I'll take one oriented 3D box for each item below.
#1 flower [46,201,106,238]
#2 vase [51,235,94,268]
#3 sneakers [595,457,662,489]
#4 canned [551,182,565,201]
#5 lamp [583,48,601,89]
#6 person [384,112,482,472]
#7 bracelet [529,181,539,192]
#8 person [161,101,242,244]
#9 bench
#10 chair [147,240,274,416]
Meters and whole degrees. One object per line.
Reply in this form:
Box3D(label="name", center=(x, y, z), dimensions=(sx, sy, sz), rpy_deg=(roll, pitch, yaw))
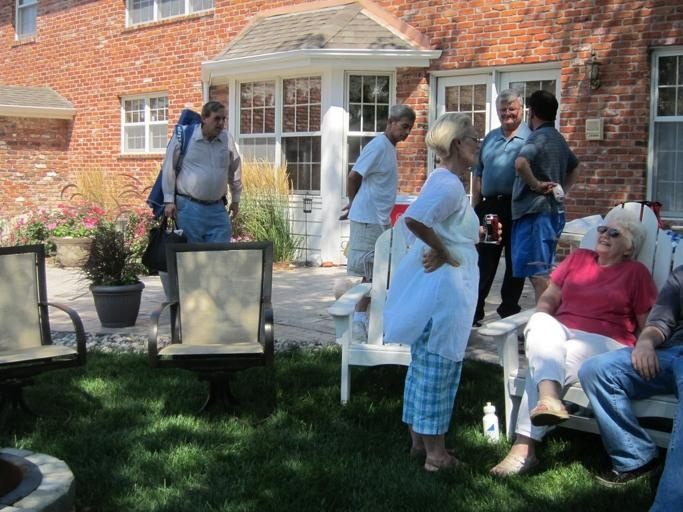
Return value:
Box3D(label="flower", center=(-4.567, -0.621, 11.455), dimensions=(0.710, 0.466, 0.817), rpy_deg=(1, 15, 8))
Box3D(label="vase", center=(-4.113, -0.091, 10.195), dimensions=(0.466, 0.384, 0.501), rpy_deg=(0, -1, -6))
Box3D(label="sneakers", center=(1.598, 1.225, 3.784), dimensions=(0.383, 0.175, 0.152), rpy_deg=(-9, 2, 6))
Box3D(label="canned", center=(1.858, -0.547, 5.742), dimensions=(0.095, 0.151, 0.052), rpy_deg=(9, -13, -28))
Box3D(label="lamp", center=(3.371, -2.500, 8.934), dimensions=(0.212, 0.498, 0.145), rpy_deg=(3, 10, 16))
Box3D(label="person", center=(0.522, 0.205, 3.945), dimensions=(0.552, 2.066, 0.448), rpy_deg=(1, 10, 10))
Box3D(label="bracelet", center=(1.655, -0.619, 5.703), dimensions=(0.094, 0.040, 0.072), rpy_deg=(37, 0, 22))
Box3D(label="person", center=(-1.364, -0.835, 6.649), dimensions=(0.860, 1.358, 0.538), rpy_deg=(-6, 12, -30))
Box3D(label="bench", center=(1.556, 0.395, 4.603), dimensions=(1.172, 1.692, 1.649), rpy_deg=(2, 8, 40))
Box3D(label="chair", center=(-0.919, 0.483, 4.900), dimensions=(0.825, 1.063, 0.955), rpy_deg=(-2, 10, -7))
